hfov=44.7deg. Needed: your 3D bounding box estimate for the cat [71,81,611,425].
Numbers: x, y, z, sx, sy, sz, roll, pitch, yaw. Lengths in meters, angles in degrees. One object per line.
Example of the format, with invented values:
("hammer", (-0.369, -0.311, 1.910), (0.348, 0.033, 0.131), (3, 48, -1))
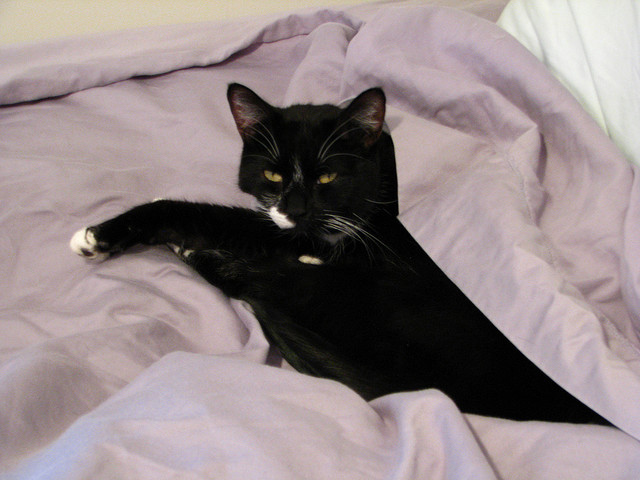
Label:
("cat", (0.150, 0.162, 1.737), (1.218, 0.478, 0.554), (21, 25, -7))
